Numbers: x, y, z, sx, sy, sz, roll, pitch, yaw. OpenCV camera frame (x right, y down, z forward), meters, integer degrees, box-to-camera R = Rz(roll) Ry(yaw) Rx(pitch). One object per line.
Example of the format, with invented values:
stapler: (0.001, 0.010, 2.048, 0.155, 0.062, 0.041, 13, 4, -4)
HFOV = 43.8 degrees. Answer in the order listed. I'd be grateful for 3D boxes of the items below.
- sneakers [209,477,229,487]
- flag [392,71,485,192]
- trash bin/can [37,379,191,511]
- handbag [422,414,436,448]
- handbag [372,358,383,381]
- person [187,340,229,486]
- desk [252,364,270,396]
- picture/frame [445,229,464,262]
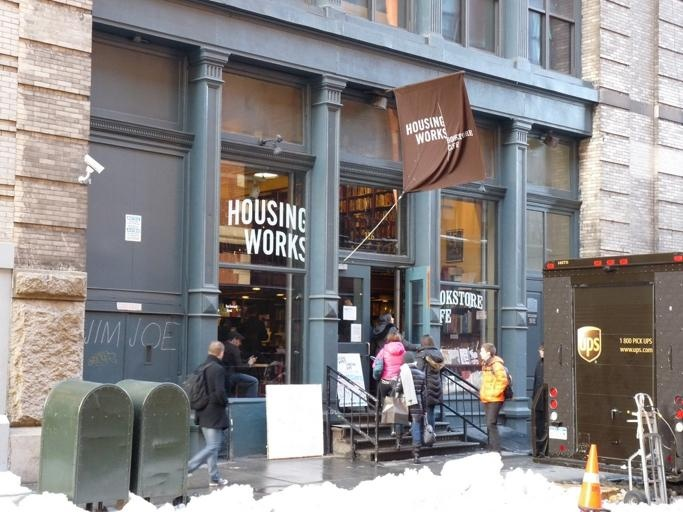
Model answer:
sneakers: (-1.799, 3.347, 12.498, 0.113, 0.112, 0.244, 6, 8, 41)
flag: (1.786, -2.331, 15.841, 2.023, 2.868, 0.302, -16, -19, 33)
trash bin/can: (-2.814, 2.368, 10.545, 1.797, 1.574, 0.722, 4, -6, -19)
handbag: (1.633, 3.147, 15.244, 0.196, 0.601, 0.767, 1, -6, 6)
handbag: (0.733, 2.122, 15.859, 0.277, 0.422, 0.557, -1, -2, -3)
person: (-1.945, 2.321, 12.533, 0.584, 2.100, 0.670, 3, -6, -7)
desk: (-1.502, 2.314, 15.992, 0.464, 0.655, 0.421, -4, -7, 25)
picture/frame: (2.590, -0.226, 18.915, 0.579, 1.088, 0.098, 7, -10, -42)
